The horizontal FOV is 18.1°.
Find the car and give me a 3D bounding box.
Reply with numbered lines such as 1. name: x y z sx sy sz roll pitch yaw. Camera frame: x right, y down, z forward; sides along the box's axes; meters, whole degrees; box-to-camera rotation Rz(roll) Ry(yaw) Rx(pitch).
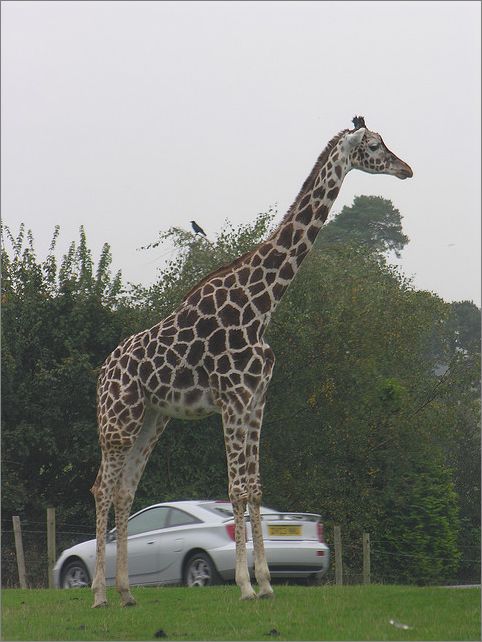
1. car: -0.740 3.197 20.938 3.253 1.249 1.627 -10 -18 39
